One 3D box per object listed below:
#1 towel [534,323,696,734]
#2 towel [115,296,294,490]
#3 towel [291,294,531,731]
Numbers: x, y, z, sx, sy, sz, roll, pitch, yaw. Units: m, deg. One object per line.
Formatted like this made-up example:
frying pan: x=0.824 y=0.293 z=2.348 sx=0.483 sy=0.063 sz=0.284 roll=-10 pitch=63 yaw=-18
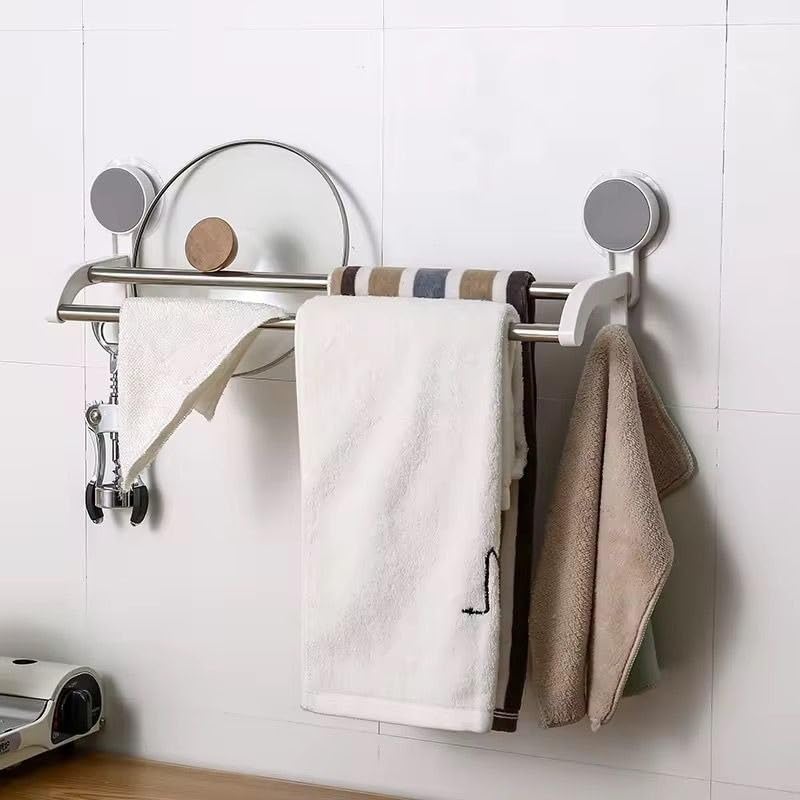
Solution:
towel: x=0.210 y=0.135 z=1.031 sx=0.147 sy=0.330 sz=0.040 roll=1 pitch=-1 yaw=33
towel: x=-0.228 y=-0.016 z=1.092 sx=0.156 sy=0.234 sz=0.067 roll=2 pitch=32 yaw=-12
towel: x=0.002 y=0.108 z=0.994 sx=0.215 sy=0.477 sz=0.104 roll=0 pitch=-1 yaw=16
